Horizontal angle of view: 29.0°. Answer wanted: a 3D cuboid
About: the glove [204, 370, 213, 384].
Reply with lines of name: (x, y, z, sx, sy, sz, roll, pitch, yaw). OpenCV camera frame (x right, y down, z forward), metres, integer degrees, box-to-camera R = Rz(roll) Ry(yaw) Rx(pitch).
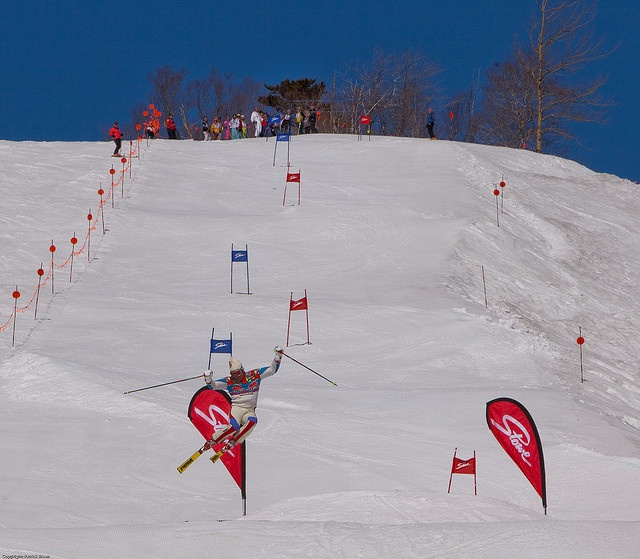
glove: (-2.110, 1.825, 22.920, 0.150, 0.357, 0.355, -1, 16, -6)

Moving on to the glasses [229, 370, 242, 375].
glasses: (-1.616, 1.734, 23.080, 0.112, 0.050, 0.126, -13, -17, -12)

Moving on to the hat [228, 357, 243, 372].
hat: (-1.654, 1.579, 23.133, 0.211, 0.276, 0.287, -13, 21, -39)

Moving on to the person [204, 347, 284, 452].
person: (-1.588, 2.220, 23.048, 0.928, 1.757, 1.512, 10, 19, 31)
